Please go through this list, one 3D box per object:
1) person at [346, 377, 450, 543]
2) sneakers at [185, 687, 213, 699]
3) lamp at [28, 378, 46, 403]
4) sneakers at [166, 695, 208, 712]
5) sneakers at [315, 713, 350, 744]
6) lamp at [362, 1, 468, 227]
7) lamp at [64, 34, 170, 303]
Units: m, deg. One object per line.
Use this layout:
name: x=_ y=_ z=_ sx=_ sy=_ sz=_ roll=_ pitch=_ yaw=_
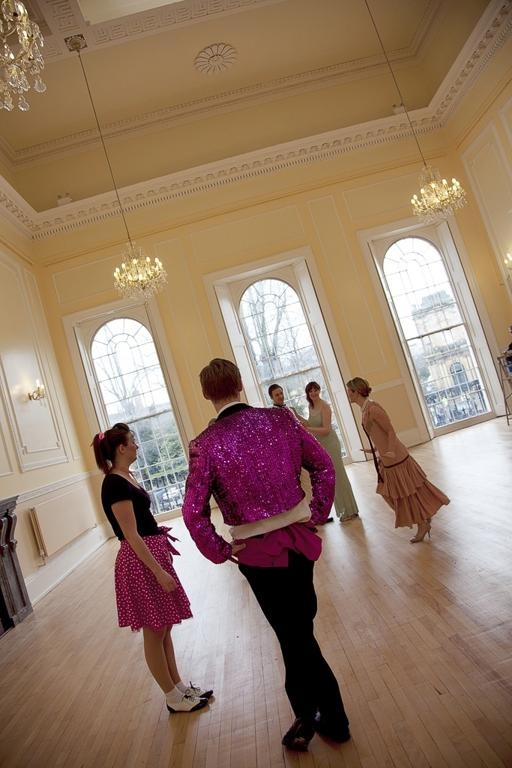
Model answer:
person: x=0.991 y=0.498 z=3.391 sx=0.447 sy=1.228 sz=0.291 roll=-20 pitch=-3 yaw=25
sneakers: x=-0.247 y=1.342 z=2.101 sx=0.124 sy=0.050 sz=0.042 roll=2 pitch=-3 yaw=0
lamp: x=-2.993 y=0.092 z=6.592 sx=0.153 sy=0.301 sz=0.286 roll=-6 pitch=-10 yaw=10
sneakers: x=-0.292 y=1.349 z=2.032 sx=0.125 sy=0.050 sz=0.082 roll=-3 pitch=9 yaw=-2
sneakers: x=0.234 y=1.074 z=1.526 sx=0.053 sy=0.062 sz=0.156 roll=0 pitch=-10 yaw=-13
lamp: x=2.335 y=-3.987 z=7.386 sx=0.745 sy=3.543 sz=1.962 roll=-20 pitch=-3 yaw=24
lamp: x=-2.017 y=-2.735 z=6.886 sx=0.750 sy=3.354 sz=2.580 roll=-18 pitch=-3 yaw=-7
